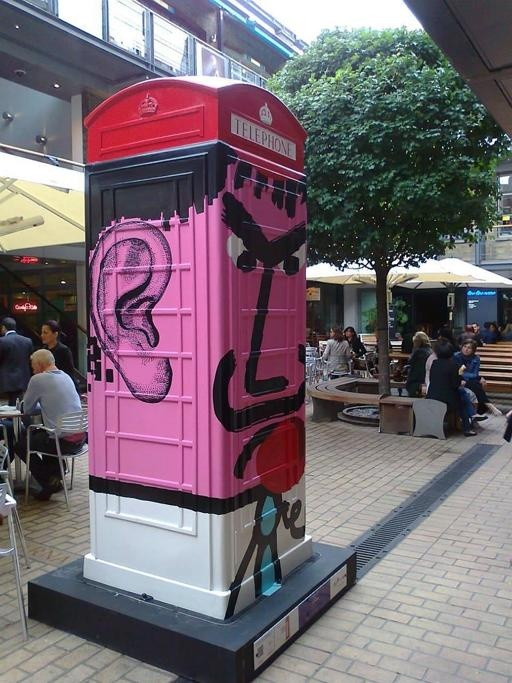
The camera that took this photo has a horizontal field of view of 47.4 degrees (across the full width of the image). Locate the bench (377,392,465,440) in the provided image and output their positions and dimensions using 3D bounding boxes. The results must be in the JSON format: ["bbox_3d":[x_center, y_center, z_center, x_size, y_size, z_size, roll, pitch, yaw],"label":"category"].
[{"bbox_3d":[2.489,1.169,9.035,1.061,0.622,0.411,0,1,32],"label":"bench"}]

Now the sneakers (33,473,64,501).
[{"bbox_3d":[-2.120,1.482,5.931,0.100,0.300,0.210,43,14,-36],"label":"sneakers"}]

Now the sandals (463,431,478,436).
[{"bbox_3d":[3.426,1.427,9.111,0.226,0.086,0.075,-2,3,28],"label":"sandals"}]

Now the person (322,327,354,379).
[{"bbox_3d":[1.871,0.437,13.098,0.680,1.580,0.539,0,21,4],"label":"person"}]

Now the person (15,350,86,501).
[{"bbox_3d":[-2.136,0.847,6.018,0.644,1.028,0.905,-1,1,-23],"label":"person"}]
